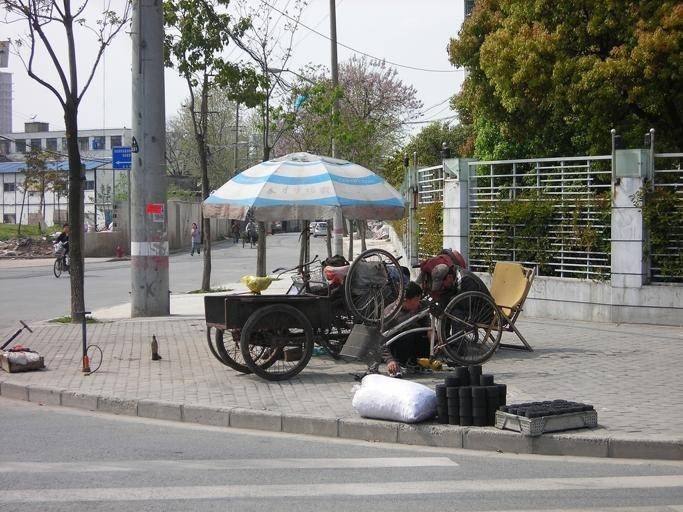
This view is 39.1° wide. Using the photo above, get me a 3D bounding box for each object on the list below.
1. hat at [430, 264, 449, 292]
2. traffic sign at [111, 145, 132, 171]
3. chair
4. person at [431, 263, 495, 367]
[{"bbox_3d":[1.489,0.323,14.906,0.135,0.419,0.217,12,-1,-43],"label":"hat"},{"bbox_3d":[-4.607,-2.067,20.211,0.372,0.487,0.618,-4,12,-17],"label":"traffic sign"},{"bbox_3d":[2.821,0.971,16.450,1.022,1.355,0.971,-1,-7,32],"label":"chair"},{"bbox_3d":[1.899,1.028,14.917,1.034,1.699,0.870,0,6,-13],"label":"person"}]
